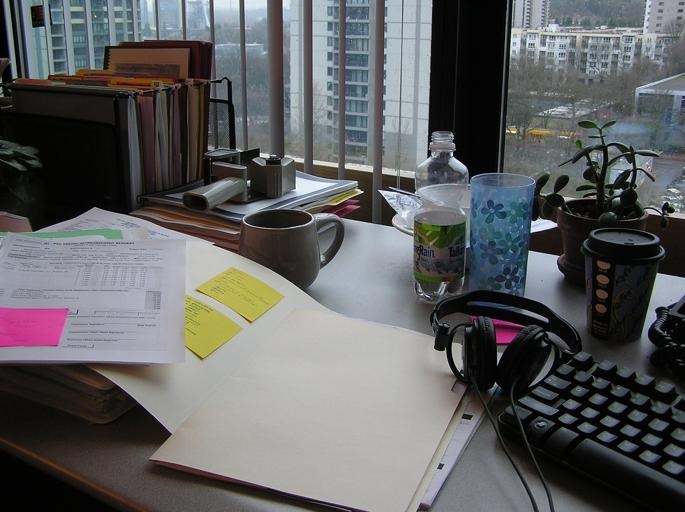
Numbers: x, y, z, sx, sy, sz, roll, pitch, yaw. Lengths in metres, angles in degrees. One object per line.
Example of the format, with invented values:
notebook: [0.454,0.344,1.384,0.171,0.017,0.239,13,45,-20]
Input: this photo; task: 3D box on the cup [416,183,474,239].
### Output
cup: [0.187,-0.088,1.015,0.103,0.113,0.096,-1,17,0]

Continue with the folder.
folder: [-0.532,-0.249,1.184,0.437,0.268,0.211,1,19,4]

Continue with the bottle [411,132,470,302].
bottle: [0.217,-0.182,1.259,0.131,0.204,0.133,-3,18,1]

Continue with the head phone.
head phone: [0.290,0.152,0.892,0.270,0.086,0.316,12,-7,0]

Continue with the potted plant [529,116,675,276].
potted plant: [0.538,-0.125,1.079,0.250,0.359,0.254,5,26,28]
